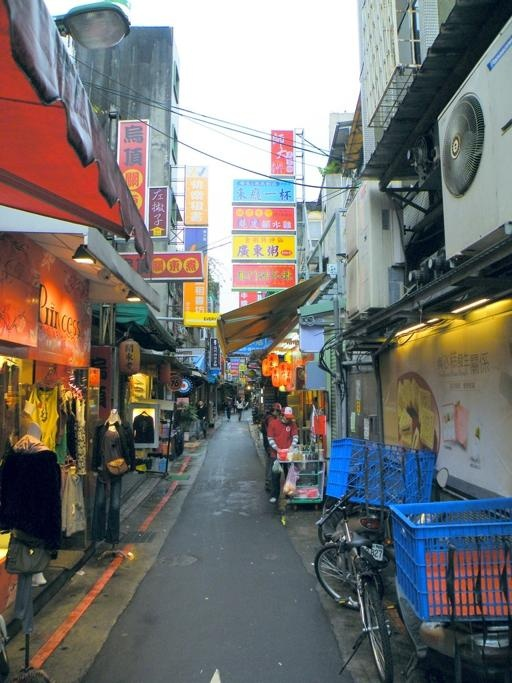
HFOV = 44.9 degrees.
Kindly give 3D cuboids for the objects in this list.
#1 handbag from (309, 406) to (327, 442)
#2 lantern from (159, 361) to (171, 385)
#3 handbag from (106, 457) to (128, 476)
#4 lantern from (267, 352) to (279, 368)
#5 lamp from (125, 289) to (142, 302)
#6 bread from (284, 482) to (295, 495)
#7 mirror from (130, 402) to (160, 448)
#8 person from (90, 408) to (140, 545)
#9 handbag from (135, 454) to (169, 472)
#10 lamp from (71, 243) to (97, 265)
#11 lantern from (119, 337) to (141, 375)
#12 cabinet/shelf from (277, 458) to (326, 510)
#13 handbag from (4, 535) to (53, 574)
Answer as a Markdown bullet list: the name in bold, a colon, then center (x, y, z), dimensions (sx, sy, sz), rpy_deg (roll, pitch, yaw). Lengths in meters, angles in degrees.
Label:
- **handbag**: center (1.288, 1.679, 12.655), dimensions (0.281, 0.402, 0.990), rpy_deg (3, -1, 5)
- **lantern**: center (-2.568, 0.881, 17.352), dimensions (0.272, 0.521, 1.070), rpy_deg (1, -4, -12)
- **handbag**: center (-1.620, 1.476, 7.285), dimensions (0.154, 0.217, 0.297), rpy_deg (-2, -4, 32)
- **lantern**: center (0.454, 0.504, 16.559), dimensions (0.257, 0.594, 0.290), rpy_deg (1, -12, -6)
- **lamp**: center (-1.539, -0.545, 7.708), dimensions (0.147, 0.093, 0.236), rpy_deg (7, -23, 0)
- **bread**: center (0.473, 2.212, 9.255), dimensions (0.162, 0.187, 0.160), rpy_deg (-14, -30, 40)
- **mirror**: center (-2.331, 1.712, 12.452), dimensions (0.775, 0.907, 0.801), rpy_deg (7, -3, -34)
- **person**: center (-1.747, 1.663, 7.533), dimensions (0.486, 1.656, 0.747), rpy_deg (1, -3, -12)
- **handbag**: center (-2.411, 2.784, 14.196), dimensions (0.686, 0.383, 1.619), rpy_deg (1, -4, -10)
- **lamp**: center (-1.636, -0.810, 5.864), dimensions (0.241, 0.255, 0.228), rpy_deg (2, 8, -19)
- **lantern**: center (-2.116, 0.286, 10.664), dimensions (0.436, 0.907, 0.458), rpy_deg (0, -1, -30)
- **cabinet/shelf**: center (0.742, 1.968, 9.826), dimensions (0.611, 0.856, 0.877), rpy_deg (-1, 26, -7)
- **handbag**: center (-1.695, 1.575, 4.596), dimensions (0.311, 0.293, 0.218), rpy_deg (1, -3, -21)
